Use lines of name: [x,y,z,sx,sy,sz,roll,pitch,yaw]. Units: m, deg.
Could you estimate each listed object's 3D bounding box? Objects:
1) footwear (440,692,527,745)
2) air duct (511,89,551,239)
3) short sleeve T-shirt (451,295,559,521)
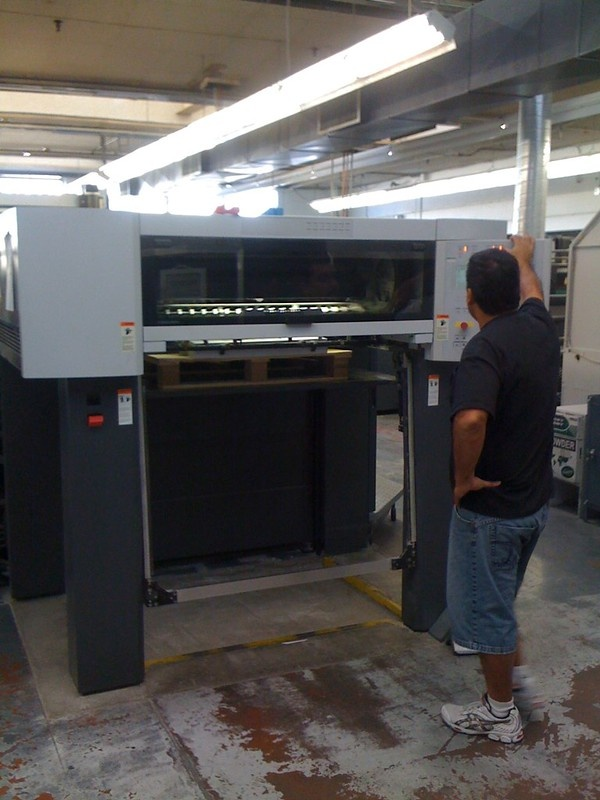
footwear: [0.559,0.952,2.066,0.282,0.129,0.105,7,14,26]
air duct: [2.319,-2.262,6.488,0.315,1.419,0.314,-14,25,-13]
short sleeve T-shirt: [0.561,0.048,1.855,0.359,0.573,0.183,-5,7,-44]
